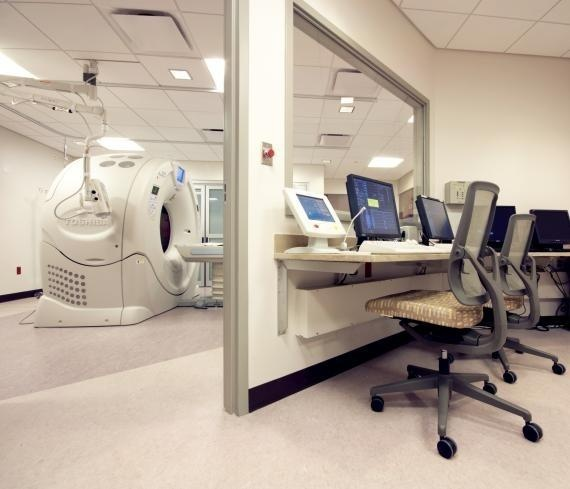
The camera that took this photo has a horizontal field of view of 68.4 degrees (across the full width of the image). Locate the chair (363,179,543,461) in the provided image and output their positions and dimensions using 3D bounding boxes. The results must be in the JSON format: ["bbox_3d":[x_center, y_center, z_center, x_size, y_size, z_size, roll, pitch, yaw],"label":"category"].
[{"bbox_3d":[0.950,0.345,2.530,0.901,1.349,0.926,1,2,-5],"label":"chair"}]

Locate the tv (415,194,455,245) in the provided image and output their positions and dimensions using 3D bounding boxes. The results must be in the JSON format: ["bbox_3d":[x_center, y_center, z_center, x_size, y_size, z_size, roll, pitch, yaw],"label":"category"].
[{"bbox_3d":[1.224,-0.196,3.445,0.164,0.447,0.442,-3,-2,39],"label":"tv"}]

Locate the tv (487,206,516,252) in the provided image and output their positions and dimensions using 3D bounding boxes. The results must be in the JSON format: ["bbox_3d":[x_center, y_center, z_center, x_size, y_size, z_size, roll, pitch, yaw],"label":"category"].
[{"bbox_3d":[1.606,-0.102,3.125,0.093,0.344,0.361,8,14,25],"label":"tv"}]

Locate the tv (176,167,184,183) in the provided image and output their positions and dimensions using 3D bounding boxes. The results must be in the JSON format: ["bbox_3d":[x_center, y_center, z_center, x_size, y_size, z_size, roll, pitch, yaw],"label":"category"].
[{"bbox_3d":[-1.230,-0.813,4.921,0.033,0.129,0.132,9,7,8],"label":"tv"}]
